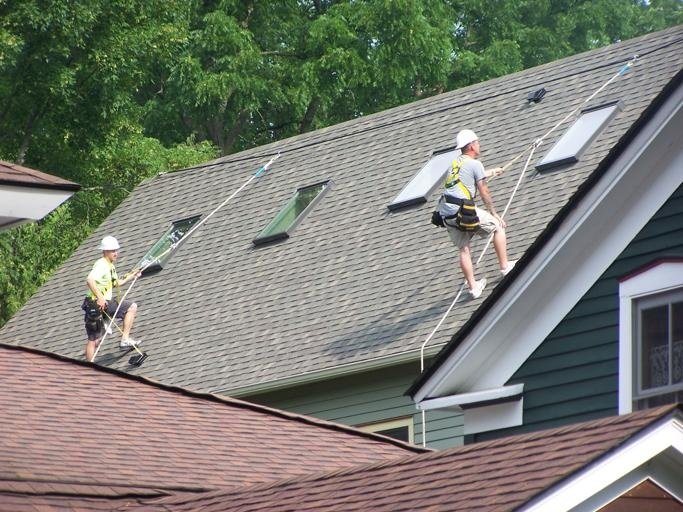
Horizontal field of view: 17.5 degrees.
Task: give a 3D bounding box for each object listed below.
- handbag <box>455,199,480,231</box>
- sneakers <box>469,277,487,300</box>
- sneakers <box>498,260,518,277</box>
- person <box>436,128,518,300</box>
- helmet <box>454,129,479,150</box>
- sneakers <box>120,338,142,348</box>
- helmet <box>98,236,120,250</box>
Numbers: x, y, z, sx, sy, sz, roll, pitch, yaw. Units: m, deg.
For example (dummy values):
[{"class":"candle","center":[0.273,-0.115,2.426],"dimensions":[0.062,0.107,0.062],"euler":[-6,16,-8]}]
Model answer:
[{"class":"handbag","center":[2.076,-0.719,36.483],"dimensions":[0.581,0.641,0.384],"euler":[-2,-2,6]},{"class":"sneakers","center":[2.292,0.493,36.778],"dimensions":[0.175,0.179,0.426],"euler":[7,46,44]},{"class":"sneakers","center":[2.764,0.140,36.547],"dimensions":[0.155,0.173,0.403],"euler":[3,45,47]},{"class":"person","center":[2.167,-0.737,36.783],"dimensions":[1.280,2.779,1.146],"euler":[2,6,2]},{"class":"helmet","center":[2.123,-2.017,36.928],"dimensions":[0.357,0.223,0.424],"euler":[-11,12,25]},{"class":"sneakers","center":[-3.787,1.553,40.248],"dimensions":[0.421,0.165,0.140],"euler":[-11,20,-13]},{"class":"helmet","center":[-4.187,-0.276,40.230],"dimensions":[0.315,0.191,0.383],"euler":[1,2,-25]}]
